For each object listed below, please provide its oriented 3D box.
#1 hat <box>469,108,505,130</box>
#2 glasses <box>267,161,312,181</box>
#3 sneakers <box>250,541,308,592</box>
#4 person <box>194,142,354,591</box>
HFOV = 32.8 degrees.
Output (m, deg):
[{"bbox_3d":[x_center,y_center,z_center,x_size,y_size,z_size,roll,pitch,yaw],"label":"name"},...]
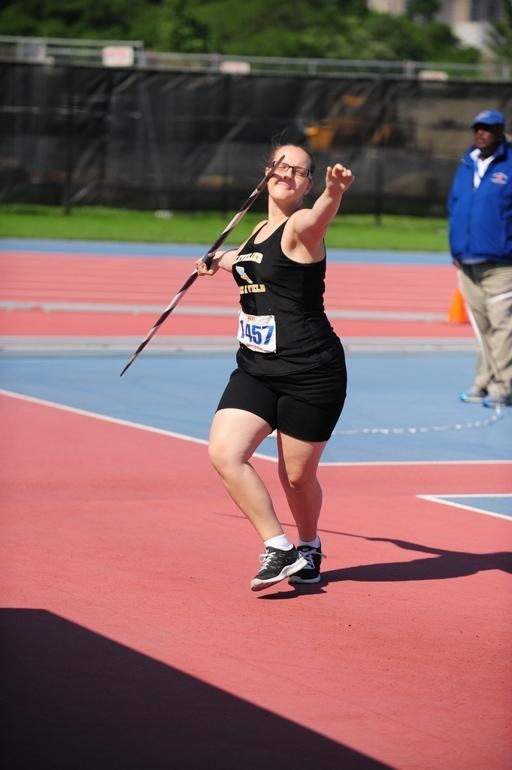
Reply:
[{"bbox_3d":[1.758,-2.033,6.589,0.225,0.151,0.343,5,11,14],"label":"hat"},{"bbox_3d":[0.143,-0.797,3.227,0.173,0.057,0.049,-3,13,-26],"label":"glasses"},{"bbox_3d":[0.082,0.681,3.329,0.295,0.119,0.104,-21,-8,-47],"label":"sneakers"},{"bbox_3d":[0.087,-0.024,3.292,0.504,1.763,0.726,4,12,5],"label":"person"}]
